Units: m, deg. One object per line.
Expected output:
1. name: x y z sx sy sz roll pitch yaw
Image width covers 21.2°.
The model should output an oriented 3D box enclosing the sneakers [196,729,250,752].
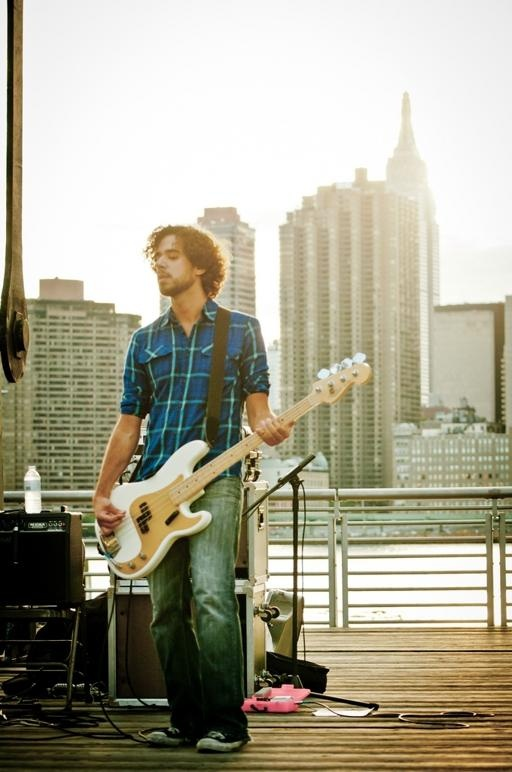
1. sneakers: -0.121 1.299 4.932 0.180 0.070 0.074 12 -40 -24
